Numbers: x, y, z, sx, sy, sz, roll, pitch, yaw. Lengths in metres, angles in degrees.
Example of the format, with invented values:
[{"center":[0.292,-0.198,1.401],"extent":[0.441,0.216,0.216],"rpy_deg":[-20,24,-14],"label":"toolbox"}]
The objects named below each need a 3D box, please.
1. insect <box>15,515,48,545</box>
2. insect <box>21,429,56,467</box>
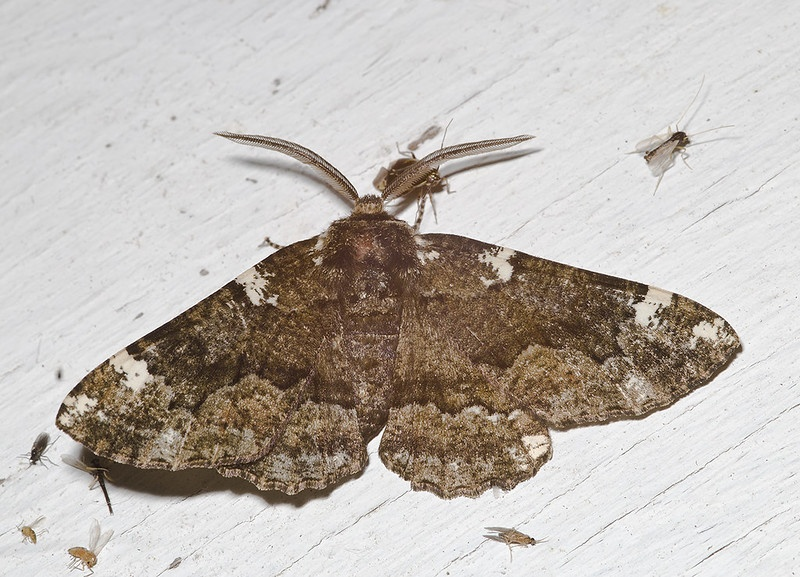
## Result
[{"center":[-2.672,1.754,8.851],"extent":[0.178,0.064,0.191],"rpy_deg":[-18,84,-19],"label":"insect"},{"center":[-2.606,1.180,8.923],"extent":[0.196,0.066,0.233],"rpy_deg":[11,89,6],"label":"insect"}]
